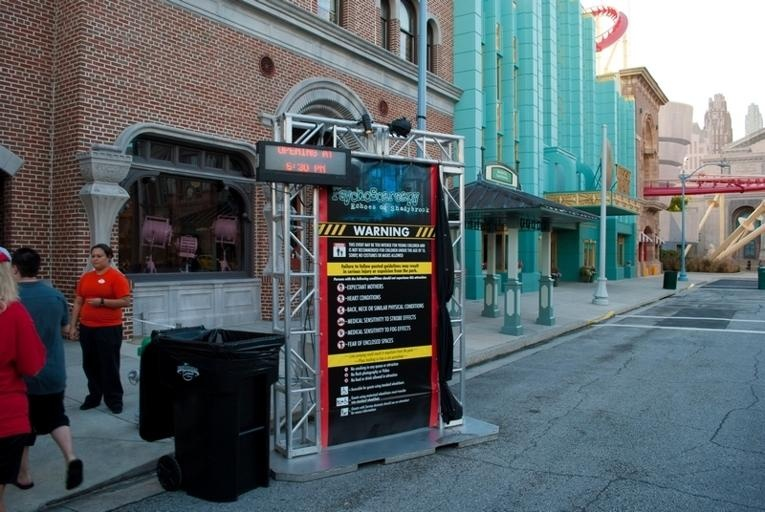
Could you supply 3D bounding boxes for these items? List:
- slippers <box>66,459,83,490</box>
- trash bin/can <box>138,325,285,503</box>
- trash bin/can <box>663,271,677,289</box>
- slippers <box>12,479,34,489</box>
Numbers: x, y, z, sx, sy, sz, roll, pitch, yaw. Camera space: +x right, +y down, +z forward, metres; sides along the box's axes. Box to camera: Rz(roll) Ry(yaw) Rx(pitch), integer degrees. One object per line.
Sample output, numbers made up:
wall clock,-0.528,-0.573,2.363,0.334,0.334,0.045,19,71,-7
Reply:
slippers,-4.543,3.206,10.067,0.182,0.499,0.201,7,4,-26
trash bin/can,-2.825,2.456,10.681,2.388,2.899,2.065,-2,-3,29
trash bin/can,14.472,1.200,34.246,0.809,0.963,0.874,1,-4,17
slippers,-5.290,3.322,10.040,0.368,0.128,0.206,-9,-9,39
